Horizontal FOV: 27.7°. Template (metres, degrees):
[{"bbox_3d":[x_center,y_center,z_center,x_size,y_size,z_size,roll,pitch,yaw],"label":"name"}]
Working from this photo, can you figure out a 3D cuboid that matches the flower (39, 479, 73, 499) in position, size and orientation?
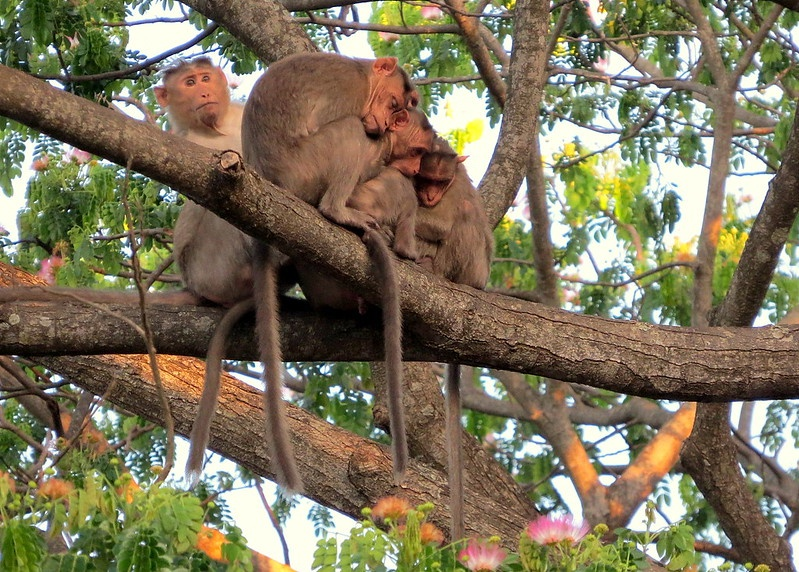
[{"bbox_3d":[-1.797,1.051,8.480,0.121,0.124,0.074,1,-83,-13],"label":"flower"}]

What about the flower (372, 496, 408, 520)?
[{"bbox_3d":[-0.048,1.169,8.538,0.139,0.077,0.140,2,-11,-27],"label":"flower"}]

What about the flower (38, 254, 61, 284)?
[{"bbox_3d":[-2.405,-0.117,11.145,0.136,0.136,0.151,-12,-69,24],"label":"flower"}]
